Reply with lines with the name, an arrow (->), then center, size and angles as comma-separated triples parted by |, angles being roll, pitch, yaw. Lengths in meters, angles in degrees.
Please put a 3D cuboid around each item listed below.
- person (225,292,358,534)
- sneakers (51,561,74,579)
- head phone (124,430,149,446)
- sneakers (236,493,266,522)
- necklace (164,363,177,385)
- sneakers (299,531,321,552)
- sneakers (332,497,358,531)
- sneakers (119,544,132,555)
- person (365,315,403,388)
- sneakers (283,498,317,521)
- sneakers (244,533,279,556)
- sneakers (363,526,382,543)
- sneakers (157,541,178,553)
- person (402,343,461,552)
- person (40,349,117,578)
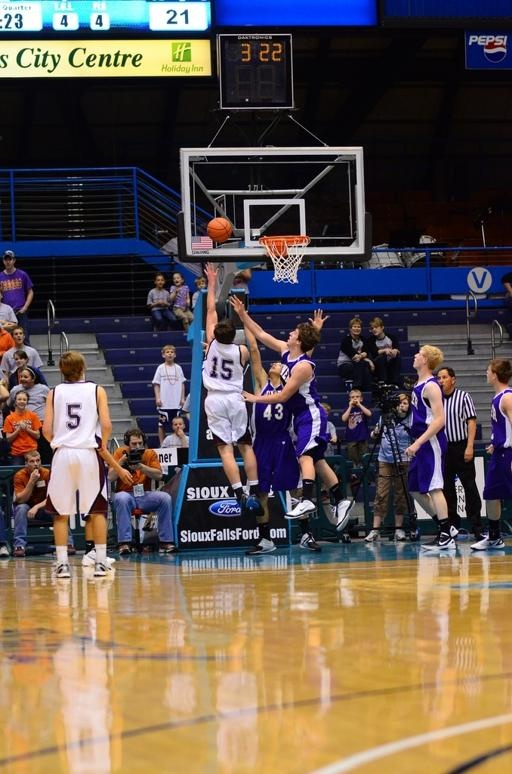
person -> 0.314, 0.354, 7.319 | 0.919, 1.803, 0.908 | -2, 4, -27
sneakers -> -1.352, 1.268, 5.924 | 0.086, 0.101, 0.230 | 0, -1, -9
head phone -> -1.226, 0.522, 8.622 | 0.173, 0.172, 0.185 | -2, -4, -8
sneakers -> -0.041, 0.986, 6.982 | 0.130, 0.149, 0.355 | -15, -26, 16
necklace -> -1.138, -0.176, 11.519 | 0.160, 0.241, 0.068 | 1, -19, -12
sneakers -> 0.448, 1.375, 7.583 | 0.102, 0.129, 0.296 | 0, -2, -20
sneakers -> 0.756, 1.132, 7.484 | 0.201, 0.152, 0.446 | 10, -45, 4
sneakers -> -1.249, 1.555, 8.151 | 0.065, 0.075, 0.170 | 2, -14, -5
person -> 1.914, -0.528, 13.008 | 0.478, 1.003, 0.907 | 0, 4, 8
sneakers -> 0.394, 1.017, 7.048 | 0.133, 0.166, 0.397 | 2, 6, 44
sneakers -> 0.027, 1.409, 7.484 | 0.321, 0.137, 0.113 | -2, -1, 4
sneakers -> 1.194, 1.545, 8.878 | 0.084, 0.103, 0.239 | -3, -3, 32
sneakers -> -0.855, 1.518, 8.059 | 0.080, 0.131, 0.201 | 6, -14, -37
person -> 1.489, 0.543, 7.313 | 0.413, 1.779, 0.830 | 0, 4, 11
person -> -1.228, 0.651, 5.884 | 0.445, 1.352, 0.313 | -1, 4, -14
